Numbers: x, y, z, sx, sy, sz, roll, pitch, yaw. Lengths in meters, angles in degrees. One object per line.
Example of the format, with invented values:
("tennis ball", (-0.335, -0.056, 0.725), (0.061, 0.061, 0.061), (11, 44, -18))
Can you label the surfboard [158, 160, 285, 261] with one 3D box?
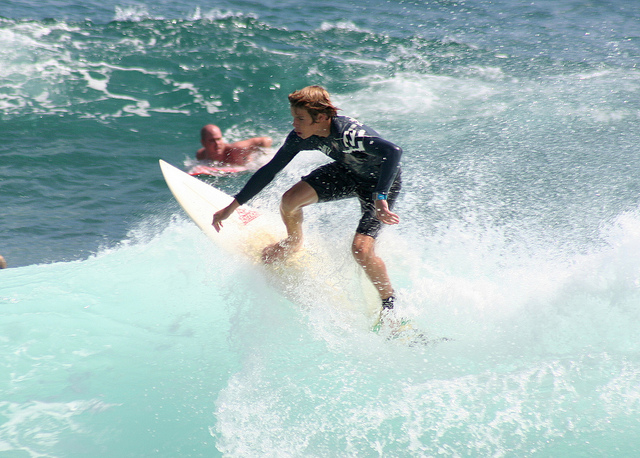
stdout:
("surfboard", (-1.061, -0.380, 8.246), (0.912, 2.628, 0.267), (7, 70, -19))
